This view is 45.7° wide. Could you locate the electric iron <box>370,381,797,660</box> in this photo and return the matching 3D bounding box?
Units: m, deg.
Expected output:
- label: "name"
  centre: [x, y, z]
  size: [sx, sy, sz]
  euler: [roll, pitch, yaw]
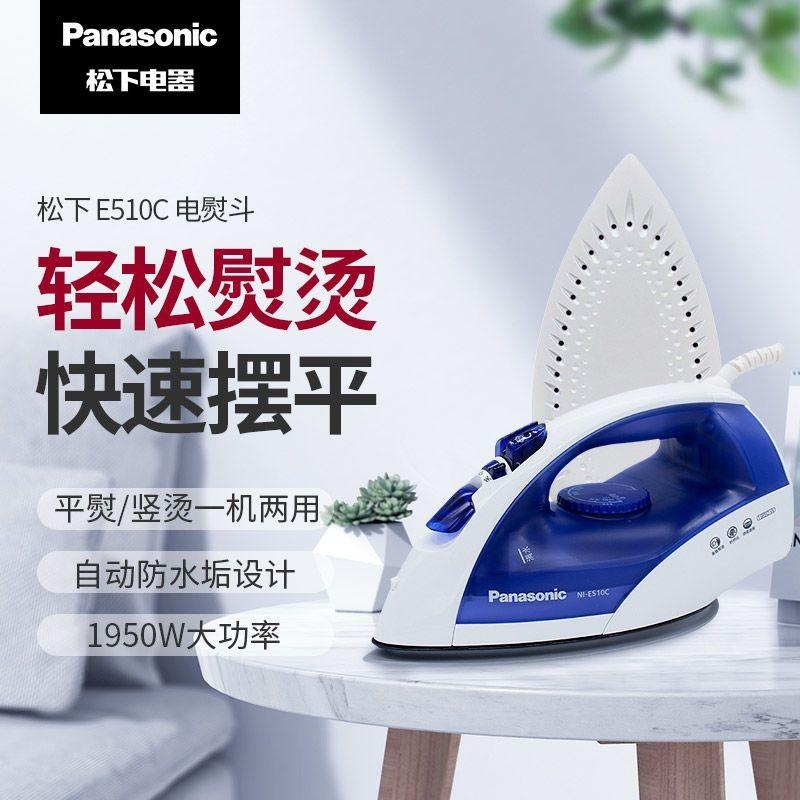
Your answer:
- label: "electric iron"
  centre: [0.173, 0.092, 0.894]
  size: [0.459, 0.209, 0.158]
  euler: [-10, 2, -20]
